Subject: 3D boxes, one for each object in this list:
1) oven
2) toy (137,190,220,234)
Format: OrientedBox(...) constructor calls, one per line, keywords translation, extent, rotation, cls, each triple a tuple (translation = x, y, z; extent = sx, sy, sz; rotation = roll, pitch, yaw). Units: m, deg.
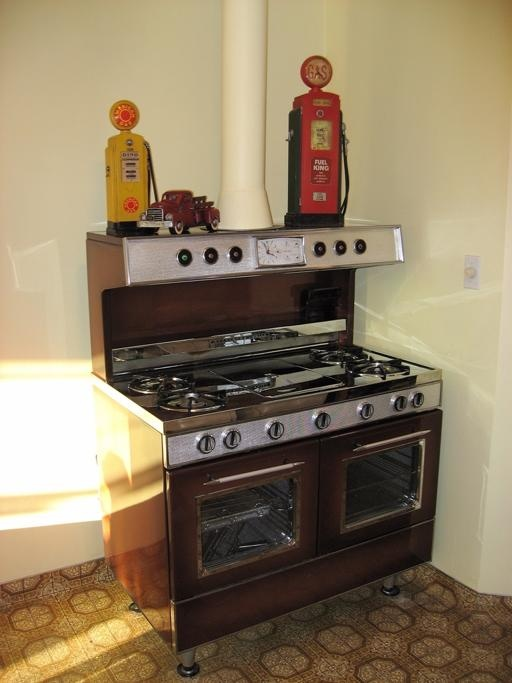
OrientedBox(translation=(-0.008, 0.450, 1.978), extent=(1.256, 0.843, 0.784), rotation=(-6, 11, -30), cls="oven")
OrientedBox(translation=(-0.215, -0.366, 1.627), extent=(0.128, 0.094, 0.213), rotation=(9, 14, 36), cls="toy")
